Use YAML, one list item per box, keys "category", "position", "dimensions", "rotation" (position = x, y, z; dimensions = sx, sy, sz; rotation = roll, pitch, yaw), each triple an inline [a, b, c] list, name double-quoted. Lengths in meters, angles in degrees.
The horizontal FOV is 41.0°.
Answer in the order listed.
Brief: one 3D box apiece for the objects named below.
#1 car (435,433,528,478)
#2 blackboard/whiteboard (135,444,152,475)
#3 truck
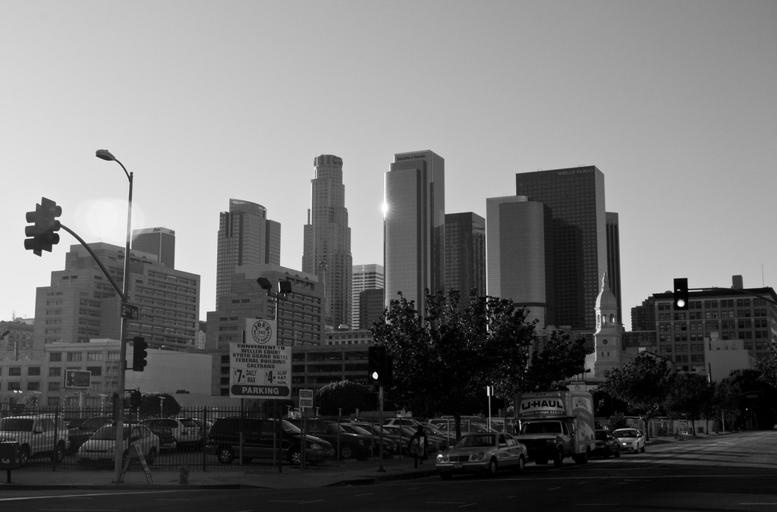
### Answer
- category: "car"
  position: [5.585, 10.883, 57.464]
  dimensions: [2.158, 1.667, 5.192]
  rotation: [-8, -15, 28]
- category: "blackboard/whiteboard"
  position: [-13.384, 11.120, 56.965]
  dimensions: [0.493, 0.662, 2.791]
  rotation: [-23, -40, -14]
- category: "truck"
  position: [10.320, 10.616, 63.991]
  dimensions: [3.705, 3.945, 9.725]
  rotation: [-6, -9, 38]
